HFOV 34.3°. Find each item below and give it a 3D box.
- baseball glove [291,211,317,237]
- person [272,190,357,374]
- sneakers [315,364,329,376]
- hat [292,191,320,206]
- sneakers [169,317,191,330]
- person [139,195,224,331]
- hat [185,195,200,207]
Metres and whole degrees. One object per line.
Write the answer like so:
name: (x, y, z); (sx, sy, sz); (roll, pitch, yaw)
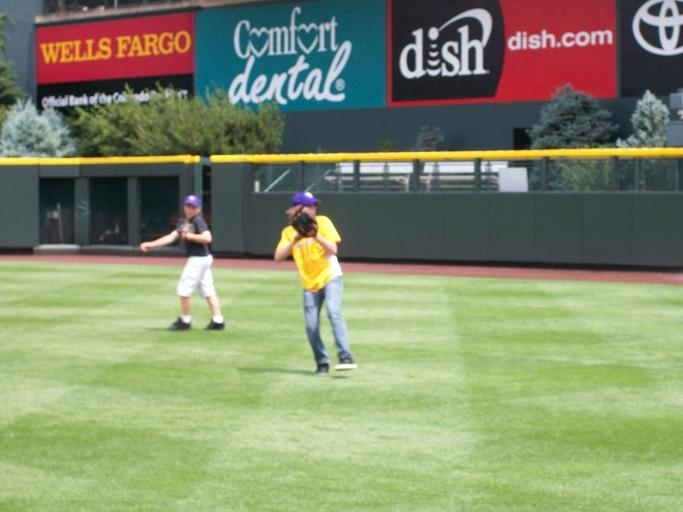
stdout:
baseball glove: (-0.523, -0.401, 15.415); (0.279, 0.352, 0.146); (-23, -29, -24)
person: (-0.356, 0.433, 15.749); (1.009, 2.638, 0.769); (-2, 14, -3)
sneakers: (-0.283, 1.628, 15.972); (0.181, 0.165, 0.108); (-1, 4, 9)
hat: (-0.604, -0.780, 15.691); (0.424, 0.212, 0.309); (-7, 5, 18)
sneakers: (-2.769, 1.153, 18.868); (0.341, 0.198, 0.183); (2, -1, 10)
person: (-2.510, 0.169, 18.500); (0.981, 2.309, 0.607); (-3, 14, -7)
hat: (-2.488, -0.901, 18.434); (0.199, 0.196, 0.515); (-2, 13, -2)
